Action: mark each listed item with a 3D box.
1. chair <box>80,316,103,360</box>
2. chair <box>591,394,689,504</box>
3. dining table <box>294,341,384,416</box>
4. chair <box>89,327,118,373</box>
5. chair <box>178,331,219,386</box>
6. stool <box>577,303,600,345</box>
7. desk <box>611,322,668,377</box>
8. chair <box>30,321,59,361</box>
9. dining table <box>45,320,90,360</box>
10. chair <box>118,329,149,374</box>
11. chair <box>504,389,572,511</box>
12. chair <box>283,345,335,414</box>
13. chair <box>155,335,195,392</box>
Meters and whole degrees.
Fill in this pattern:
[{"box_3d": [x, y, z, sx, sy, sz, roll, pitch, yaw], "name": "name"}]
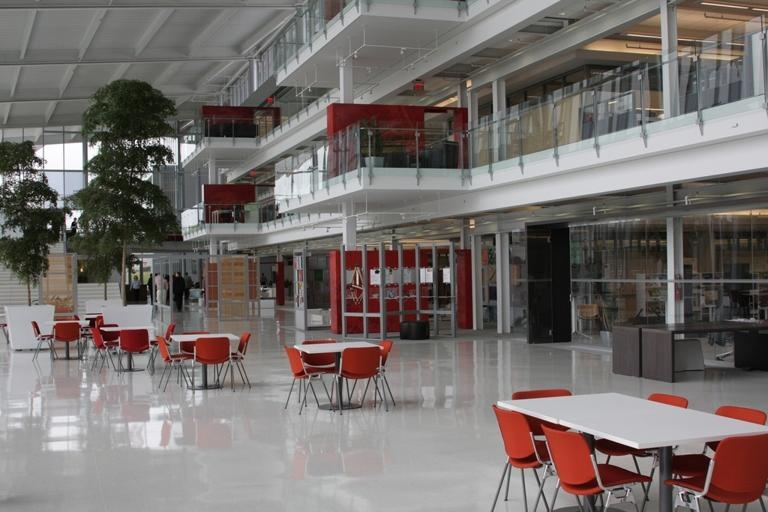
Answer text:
[{"box_3d": [-8.097, 2.266, 19.981, 0.914, 1.241, 0.994, -1, 3, -17], "name": "chair"}, {"box_3d": [3.382, 2.522, 9.517, 1.012, 1.247, 0.976, 15, -21, -16], "name": "chair"}, {"box_3d": [-0.716, 2.297, 13.380, 1.387, 1.042, 1.140, 12, -11, -41], "name": "dining table"}, {"box_3d": [-6.919, 2.265, 17.963, 0.672, 0.921, 0.660, -1, -2, 37], "name": "chair"}, {"box_3d": [-3.994, 2.241, 15.547, 0.909, 1.496, 1.027, -2, 9, -19], "name": "chair"}, {"box_3d": [5.543, 1.750, 19.699, 0.477, 0.839, 0.483, -1, 10, 15], "name": "stool"}, {"box_3d": [5.760, 2.102, 16.078, 0.878, 1.197, 1.633, 15, -12, 6], "name": "desk"}, {"box_3d": [-9.474, 2.317, 20.220, 0.786, 1.009, 0.749, -1, 2, -1], "name": "chair"}, {"box_3d": [-8.842, 2.346, 20.155, 0.942, 1.266, 0.896, -2, 5, -23], "name": "dining table"}, {"box_3d": [-5.969, 2.215, 17.020, 0.818, 1.038, 0.732, 1, 2, -26], "name": "chair"}, {"box_3d": [2.254, 2.263, 9.587, 0.856, 1.238, 0.912, 0, -6, -30], "name": "chair"}, {"box_3d": [-1.549, 2.335, 13.972, 1.154, 1.558, 1.137, -1, 0, -19], "name": "chair"}, {"box_3d": [-4.485, 2.292, 15.501, 0.808, 1.058, 0.845, 2, -5, -2], "name": "chair"}]
